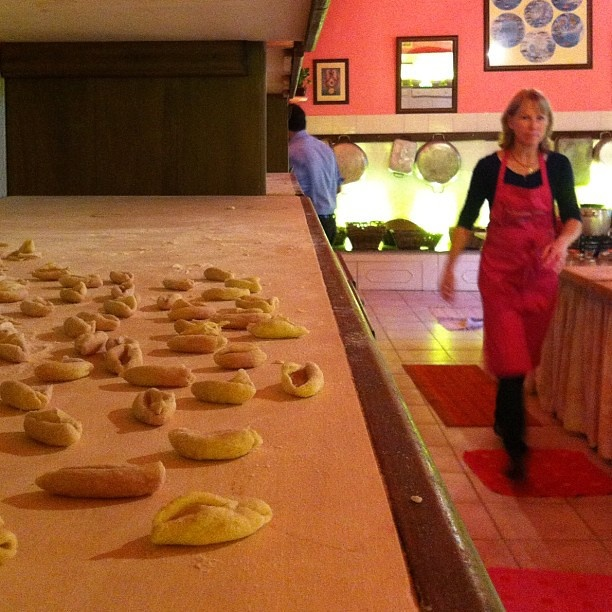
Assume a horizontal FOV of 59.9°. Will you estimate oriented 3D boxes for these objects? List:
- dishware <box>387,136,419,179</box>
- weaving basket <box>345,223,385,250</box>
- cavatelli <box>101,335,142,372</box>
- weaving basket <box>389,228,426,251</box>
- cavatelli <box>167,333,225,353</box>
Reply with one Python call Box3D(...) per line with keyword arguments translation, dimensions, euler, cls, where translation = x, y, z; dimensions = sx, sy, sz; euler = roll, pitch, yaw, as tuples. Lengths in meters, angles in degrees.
Box3D(translation=(1.042, -1.672, 6.021), dimensions=(0.380, 0.334, 0.352), euler=(4, 27, 0), cls="dishware")
Box3D(translation=(0.608, -0.734, 5.530), dimensions=(0.303, 0.214, 0.334), euler=(1, 11, 1), cls="weaving basket")
Box3D(translation=(-0.209, 0.050, 0.593), dimensions=(0.029, 0.018, 0.055), euler=(-3, 18, -16), cls="cavatelli")
Box3D(translation=(1.069, -0.699, 5.579), dimensions=(0.336, 0.145, 0.234), euler=(0, 1, -1), cls="weaving basket")
Box3D(translation=(-0.134, 0.046, 0.642), dimensions=(0.051, 0.015, 0.027), euler=(1, 9, 5), cls="cavatelli")
